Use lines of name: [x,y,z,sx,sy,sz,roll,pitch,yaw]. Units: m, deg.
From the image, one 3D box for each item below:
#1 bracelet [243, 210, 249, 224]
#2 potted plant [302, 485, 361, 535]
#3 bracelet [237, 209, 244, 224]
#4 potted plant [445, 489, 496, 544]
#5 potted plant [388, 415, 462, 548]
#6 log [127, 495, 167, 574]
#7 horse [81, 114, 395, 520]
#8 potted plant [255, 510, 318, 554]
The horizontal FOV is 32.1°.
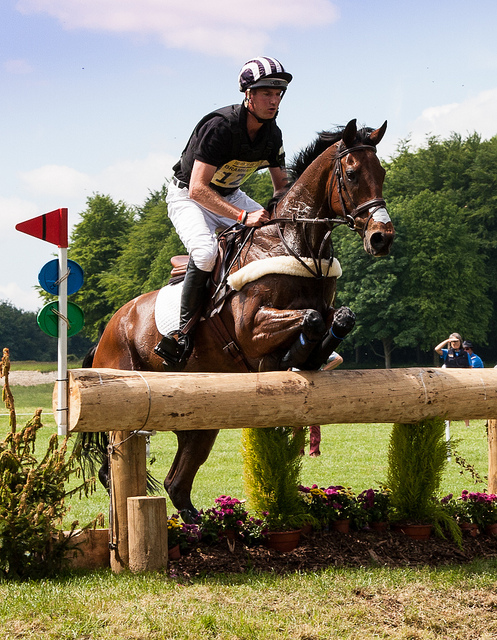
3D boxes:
bracelet: [-0.023,-0.717,6.030,0.025,0.082,0.092,22,19,-5]
potted plant: [0.609,1.392,6.309,0.423,0.314,0.322,-1,-3,6]
bracelet: [-0.065,-0.721,5.976,0.021,0.072,0.079,21,-5,-9]
potted plant: [1.666,1.492,6.578,0.387,0.287,0.330,0,-14,-7]
potted plant: [1.274,1.121,6.238,0.528,0.923,0.453,2,3,7]
log: [-0.631,1.324,5.367,0.255,0.463,0.230,1,3,-8]
horse: [-0.208,0.030,6.441,3.498,1.885,0.930,-23,-20,40]
potted plant: [0.256,1.453,5.943,0.351,0.196,0.310,2,-14,-12]
